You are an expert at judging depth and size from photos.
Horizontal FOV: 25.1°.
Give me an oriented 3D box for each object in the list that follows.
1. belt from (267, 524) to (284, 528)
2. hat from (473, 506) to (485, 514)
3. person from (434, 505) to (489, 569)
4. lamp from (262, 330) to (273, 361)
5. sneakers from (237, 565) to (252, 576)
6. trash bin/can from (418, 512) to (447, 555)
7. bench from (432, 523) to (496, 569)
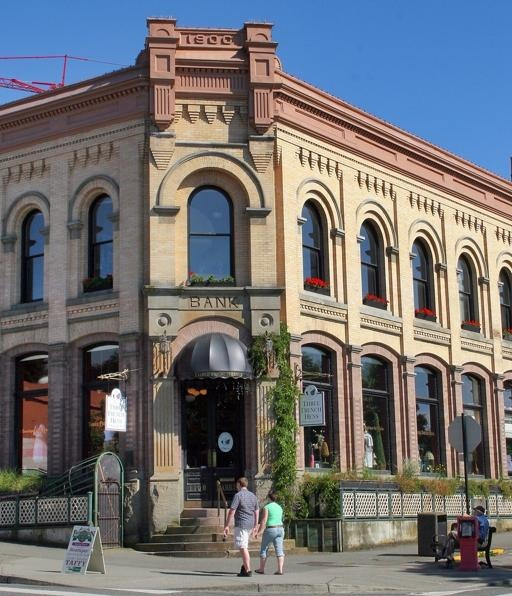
[{"bbox_3d":[0.357,4.110,20.889,0.358,0.102,0.091,14,-22,-41],"label":"belt"},{"bbox_3d":[4.491,4.235,23.159,0.197,0.078,0.223,13,0,-21],"label":"hat"},{"bbox_3d":[4.131,4.789,22.798,1.099,1.080,0.821,5,-6,-21],"label":"person"},{"bbox_3d":[0.327,1.162,27.895,0.146,0.680,0.330,-11,-19,31],"label":"lamp"},{"bbox_3d":[-0.202,4.937,20.856,0.325,0.232,0.113,-3,-9,35],"label":"sneakers"},{"bbox_3d":[3.795,4.999,24.549,0.576,0.908,0.608,-3,-15,23],"label":"trash bin/can"},{"bbox_3d":[4.175,4.780,22.755,1.000,0.800,0.718,1,1,-3],"label":"bench"}]
